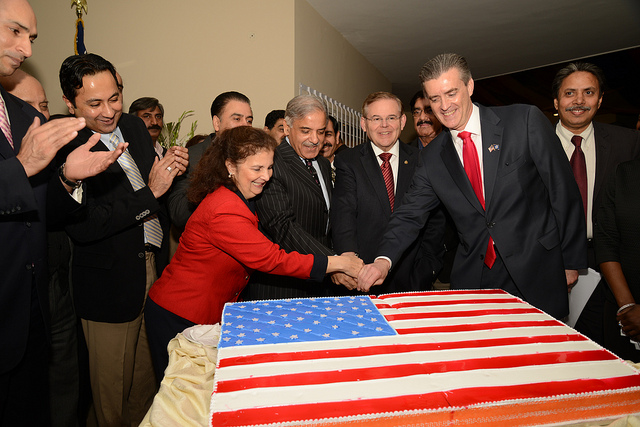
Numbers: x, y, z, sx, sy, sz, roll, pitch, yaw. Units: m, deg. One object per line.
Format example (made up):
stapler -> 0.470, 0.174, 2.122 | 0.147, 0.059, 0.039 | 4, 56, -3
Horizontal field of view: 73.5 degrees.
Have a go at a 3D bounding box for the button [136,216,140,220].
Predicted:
button -> -1.136, 0.025, 2.676 | 0.021, 0.022, 0.007 | -15, 20, -14

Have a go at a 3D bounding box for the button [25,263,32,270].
button -> -1.581, 0.283, 2.327 | 0.026, 0.028, 0.006 | 34, -21, -31

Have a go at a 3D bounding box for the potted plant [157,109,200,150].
potted plant -> -1.701, -0.926, 5.099 | 0.427, 0.266, 0.414 | -1, -14, 20

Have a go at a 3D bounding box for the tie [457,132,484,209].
tie -> 0.974, -0.278, 2.716 | 0.091, 0.619, 0.068 | -17, -11, 26

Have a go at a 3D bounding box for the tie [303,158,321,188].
tie -> -0.061, -0.295, 3.072 | 0.046, 0.166, 0.119 | -21, -7, -14

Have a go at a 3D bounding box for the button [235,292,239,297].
button -> -0.524, 0.506, 2.704 | 0.017, 0.004, 0.017 | -30, 2, 13

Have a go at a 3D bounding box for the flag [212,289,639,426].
flag -> 0.406, 0.609, 2.021 | 1.752, 0.368, 0.687 | -11, 21, -1

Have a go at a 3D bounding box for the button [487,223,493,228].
button -> 1.048, 0.070, 2.647 | 0.022, 0.025, 0.006 | 5, -18, 12

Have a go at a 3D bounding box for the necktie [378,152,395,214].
necktie -> 0.492, -0.243, 3.085 | 0.108, 0.367, 0.038 | -5, -12, -1

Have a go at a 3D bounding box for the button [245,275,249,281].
button -> -0.463, 0.405, 2.730 | 0.009, 0.030, 0.021 | 9, 25, -50

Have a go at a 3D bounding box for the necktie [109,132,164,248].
necktie -> -1.266, -0.162, 2.983 | 0.144, 0.815, 0.272 | -20, 22, -29

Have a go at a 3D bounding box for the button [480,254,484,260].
button -> 1.015, 0.270, 2.695 | 0.023, 0.028, 0.014 | 11, 28, 43

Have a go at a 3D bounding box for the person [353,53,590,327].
person -> 0.990, 0.072, 2.927 | 1.403, 2.202, 0.755 | -11, 15, 14

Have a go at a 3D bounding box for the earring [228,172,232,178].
earring -> -0.544, -0.234, 2.585 | 0.022, 0.025, 0.007 | 0, -5, 23

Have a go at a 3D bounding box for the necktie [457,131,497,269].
necktie -> 1.043, -0.071, 2.777 | 0.187, 0.917, 0.099 | -17, -9, 34

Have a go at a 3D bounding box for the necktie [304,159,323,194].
necktie -> -0.056, -0.311, 3.067 | 0.046, 0.356, 0.041 | -9, -25, -13
